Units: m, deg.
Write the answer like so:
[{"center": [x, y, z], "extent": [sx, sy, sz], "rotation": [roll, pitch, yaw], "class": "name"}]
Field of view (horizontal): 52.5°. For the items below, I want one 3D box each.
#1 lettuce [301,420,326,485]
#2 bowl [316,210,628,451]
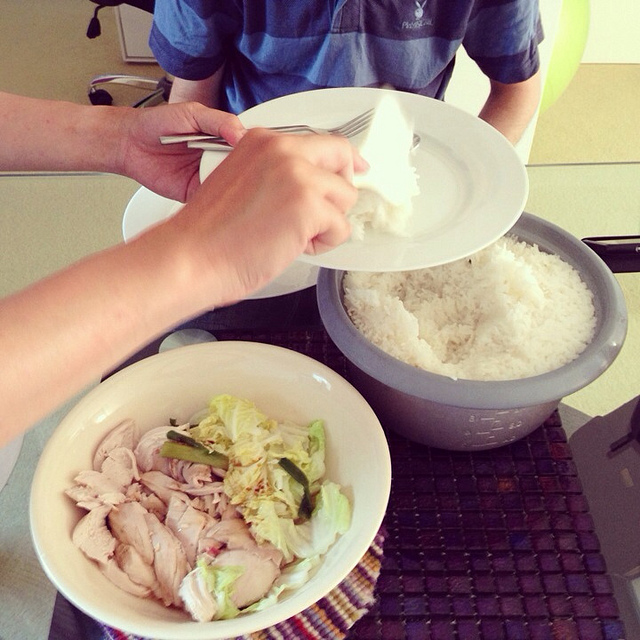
[{"center": [-0.009, 0.175, 0.854], "extent": [0.030, 0.014, 0.075], "rotation": [-1, 70, 16], "class": "lettuce"}, {"center": [0.228, 0.014, 0.936], "extent": [0.422, 0.193, 0.316], "rotation": [-19, 60, -14], "class": "bowl"}]
